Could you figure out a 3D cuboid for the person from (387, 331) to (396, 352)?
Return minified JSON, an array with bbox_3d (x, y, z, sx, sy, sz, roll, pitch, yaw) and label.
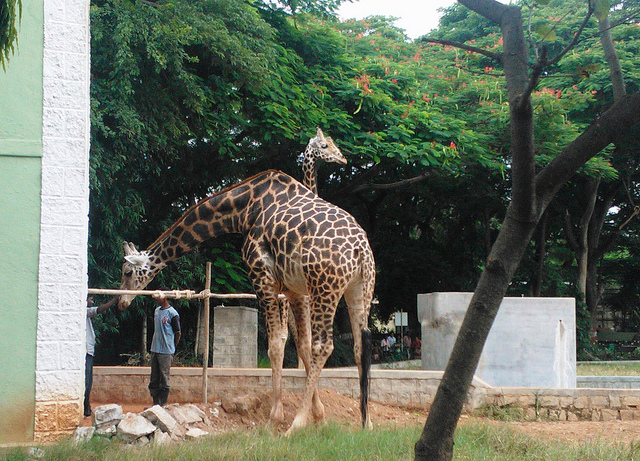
[{"bbox_3d":[2.797,4.388,30.502,0.326,0.899,0.277,9,-28,-24],"label":"person"}]
